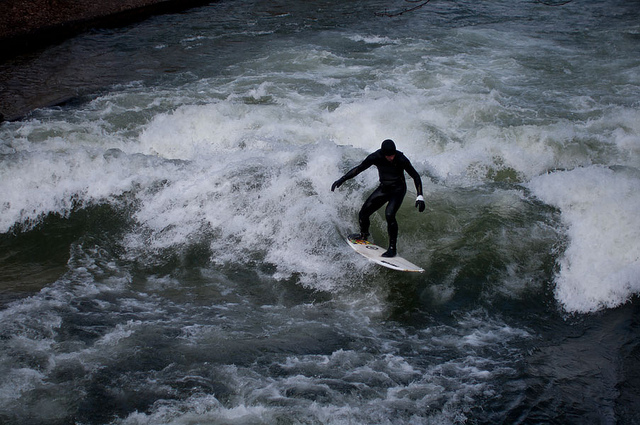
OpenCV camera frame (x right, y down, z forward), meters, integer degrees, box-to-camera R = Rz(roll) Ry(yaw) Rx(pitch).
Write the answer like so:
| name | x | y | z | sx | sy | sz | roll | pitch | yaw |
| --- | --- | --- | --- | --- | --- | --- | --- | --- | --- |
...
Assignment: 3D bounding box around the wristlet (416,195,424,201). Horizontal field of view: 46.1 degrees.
| name | x | y | z | sx | sy | sz | roll | pitch | yaw |
| --- | --- | --- | --- | --- | --- | --- | --- | --- | --- |
| wristlet | 2.378 | -0.364 | 18.101 | 0.181 | 0.109 | 0.209 | 1 | 13 | 25 |
